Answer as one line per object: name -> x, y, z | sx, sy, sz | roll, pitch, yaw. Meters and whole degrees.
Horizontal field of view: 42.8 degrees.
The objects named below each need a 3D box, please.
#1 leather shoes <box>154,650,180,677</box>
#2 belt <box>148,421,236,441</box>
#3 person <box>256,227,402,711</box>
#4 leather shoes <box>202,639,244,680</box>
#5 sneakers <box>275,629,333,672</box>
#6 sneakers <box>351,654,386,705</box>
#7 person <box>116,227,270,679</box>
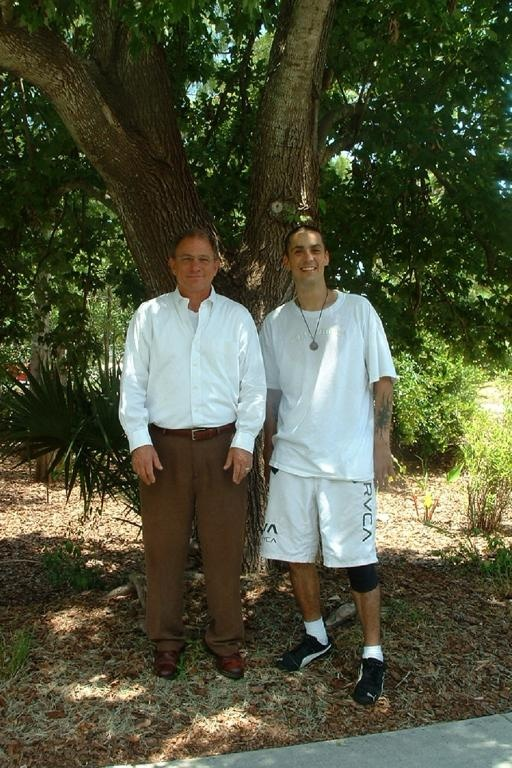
leather shoes -> -0.386, 1.198, 2.834 | 0.113, 0.075, 0.173 | 1, 3, -5
belt -> -0.277, 0.210, 2.834 | 0.364, 0.065, 0.098 | 1, 3, -7
person -> 0.269, 0.274, 2.865 | 0.674, 1.961, 0.575 | 3, 4, 16
leather shoes -> -0.119, 1.208, 2.853 | 0.106, 0.077, 0.191 | -1, 4, -30
sneakers -> 0.215, 1.190, 2.970 | 0.273, 0.113, 0.098 | -11, 15, -37
sneakers -> 0.468, 1.206, 2.694 | 0.112, 0.132, 0.240 | 3, 4, 16
person -> -0.282, 0.282, 2.879 | 0.628, 1.911, 0.389 | 2, 4, 0
